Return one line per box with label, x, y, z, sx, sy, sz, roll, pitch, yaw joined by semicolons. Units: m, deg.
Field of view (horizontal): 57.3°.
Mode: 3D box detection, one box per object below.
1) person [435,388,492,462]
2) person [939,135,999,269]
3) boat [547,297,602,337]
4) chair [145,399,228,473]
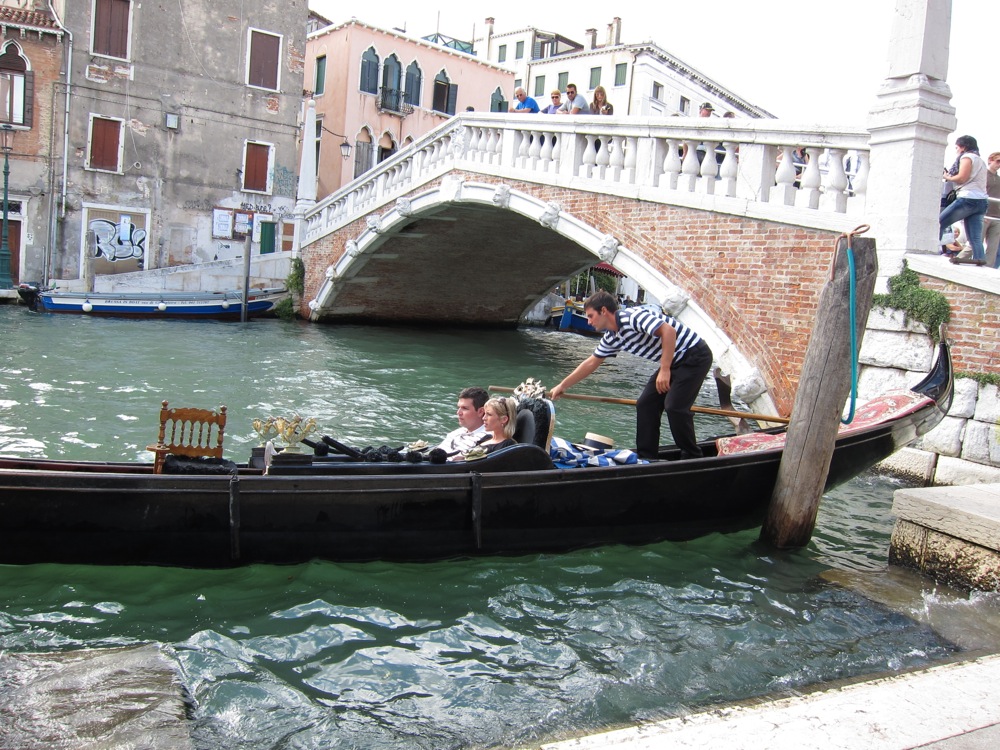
person;-0.197;0.381;7.138;0.497;0.579;0.718;-1;14;-10
person;4.719;-1.773;9.264;0.475;1.257;1.315;9;13;23
boat;2.064;-1.672;27.530;0.876;0.689;2.325;3;-5;21
chair;-2.035;0.402;6.034;0.494;0.568;0.364;6;20;-21
